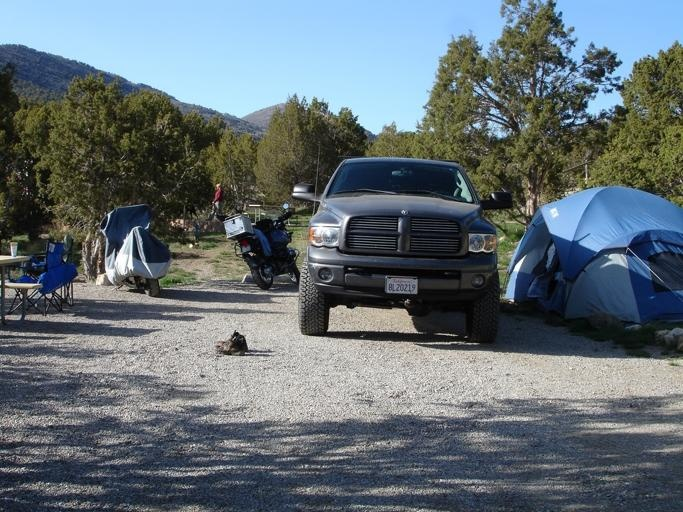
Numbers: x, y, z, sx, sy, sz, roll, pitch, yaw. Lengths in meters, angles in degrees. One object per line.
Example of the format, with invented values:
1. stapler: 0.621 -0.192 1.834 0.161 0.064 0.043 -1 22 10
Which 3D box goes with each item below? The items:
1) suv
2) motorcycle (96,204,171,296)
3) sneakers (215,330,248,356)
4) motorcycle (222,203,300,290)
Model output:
1. suv: 0.959 -0.072 12.177 3.495 2.930 3.831 1 10 -4
2. motorcycle: -3.957 -0.165 14.709 1.381 1.536 0.817 10 13 41
3. sneakers: -1.466 1.183 10.171 0.367 0.305 0.170 1 -10 -3
4. motorcycle: -1.639 -0.154 17.256 1.117 1.630 2.678 -17 -2 18
